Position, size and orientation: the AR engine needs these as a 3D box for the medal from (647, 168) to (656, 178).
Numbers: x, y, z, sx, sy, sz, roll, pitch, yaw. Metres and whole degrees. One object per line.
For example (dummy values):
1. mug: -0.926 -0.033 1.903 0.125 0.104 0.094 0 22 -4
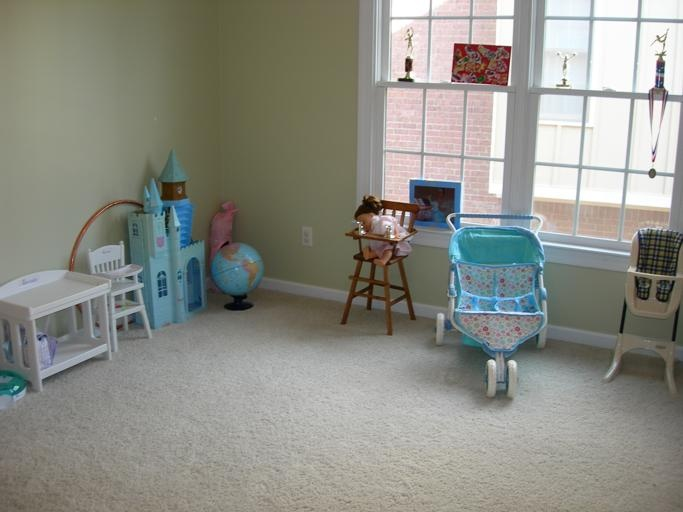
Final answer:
1. medal: 2.012 -0.532 3.647 0.055 0.070 0.043 5 14 14

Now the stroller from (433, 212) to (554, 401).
1. stroller: 1.007 0.226 3.660 0.682 1.155 0.756 3 15 3

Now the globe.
1. globe: -0.856 0.158 4.593 0.426 0.533 0.421 -13 23 -36

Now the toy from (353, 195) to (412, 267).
1. toy: 0.314 -0.194 4.157 0.350 0.515 0.330 11 18 33

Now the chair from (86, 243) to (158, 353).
1. chair: -1.534 0.222 3.917 0.349 0.787 0.314 -2 20 -26
